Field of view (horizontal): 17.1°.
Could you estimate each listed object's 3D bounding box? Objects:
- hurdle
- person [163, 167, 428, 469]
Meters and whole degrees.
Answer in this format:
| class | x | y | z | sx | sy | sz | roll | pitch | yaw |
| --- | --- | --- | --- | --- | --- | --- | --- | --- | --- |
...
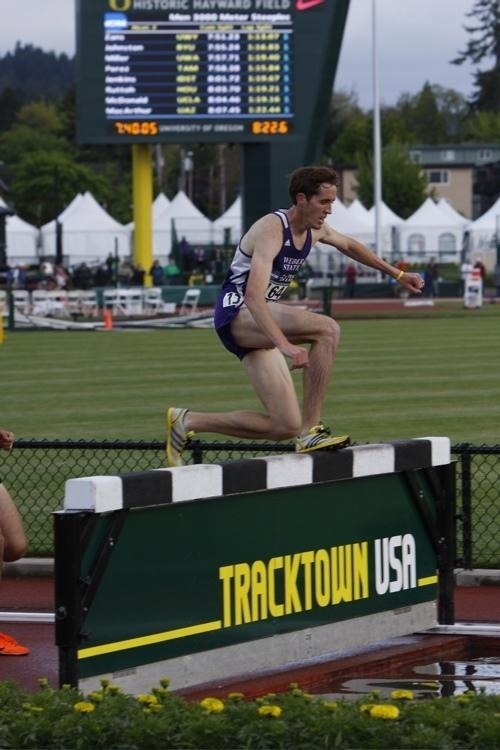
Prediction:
| class | x | y | z | sx | sy | sz | roll | pitch | yaw |
| --- | --- | --- | --- | --- | --- | --- | --- | --- | --- |
| hurdle | 0.122 | 0.656 | 5.884 | 0.172 | 0.744 | 2.024 | -3 | 0 | 45 |
| person | 0.276 | -0.227 | 6.386 | 0.627 | 1.302 | 0.761 | -8 | 16 | -35 |
